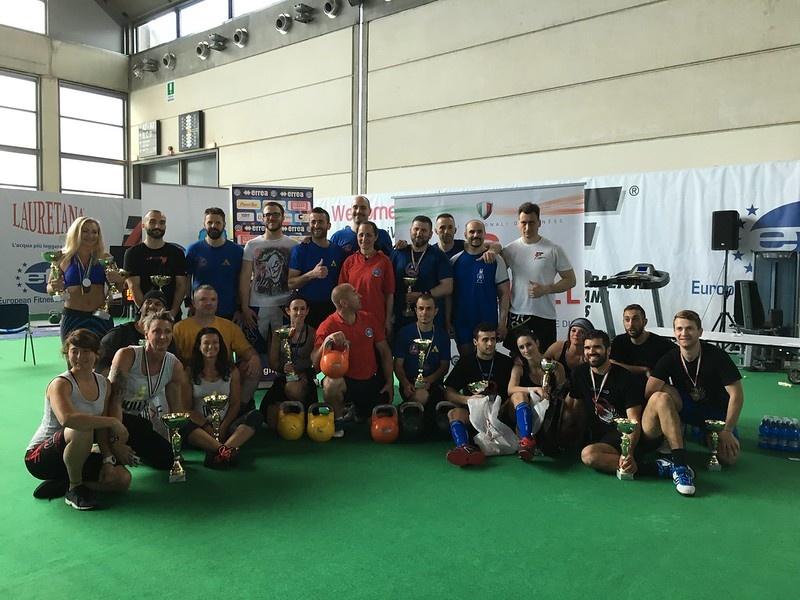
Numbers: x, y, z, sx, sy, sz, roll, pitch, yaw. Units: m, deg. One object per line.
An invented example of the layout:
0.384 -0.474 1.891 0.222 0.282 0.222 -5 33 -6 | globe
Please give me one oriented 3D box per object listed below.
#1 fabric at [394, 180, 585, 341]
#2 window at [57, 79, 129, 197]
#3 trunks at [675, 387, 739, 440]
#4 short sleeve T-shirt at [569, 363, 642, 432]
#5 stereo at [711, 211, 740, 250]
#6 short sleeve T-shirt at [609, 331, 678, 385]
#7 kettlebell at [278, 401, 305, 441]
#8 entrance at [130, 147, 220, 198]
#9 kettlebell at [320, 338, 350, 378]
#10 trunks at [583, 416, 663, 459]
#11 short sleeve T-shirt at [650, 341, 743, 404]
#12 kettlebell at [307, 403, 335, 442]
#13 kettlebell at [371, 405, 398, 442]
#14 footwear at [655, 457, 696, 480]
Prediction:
1.047 -0.401 6.617 1.970 1.517 0.070 2 4 37 | fabric
-8.365 -4.290 15.963 0.317 2.859 2.044 6 12 31 | window
2.711 1.091 5.434 0.538 0.543 0.173 -4 5 6 | trunks
1.770 0.845 5.080 0.601 0.588 0.301 1 -1 37 | short sleeve T-shirt
4.694 -1.005 8.474 0.371 0.576 0.360 -1 8 11 | stereo
2.302 0.490 5.760 0.400 0.722 0.714 7 -7 -44 | short sleeve T-shirt
-1.061 1.158 5.672 0.262 0.372 0.215 1 -3 -4 | kettlebell
-5.735 -3.232 15.451 1.899 1.155 0.094 -9 -4 -6 | entrance
-0.606 0.546 5.706 0.339 0.483 0.303 6 2 -8 | kettlebell
1.922 1.188 5.070 0.593 0.255 0.360 0 -4 -4 | trunks
2.566 0.651 5.146 0.442 0.357 0.232 -16 11 42 | short sleeve T-shirt
-0.752 1.147 5.571 0.337 0.458 0.305 1 -9 -7 | kettlebell
-0.148 1.149 5.652 0.318 0.451 0.300 0 3 -2 | kettlebell
2.236 1.362 4.785 0.383 0.146 0.155 8 -3 43 | footwear
